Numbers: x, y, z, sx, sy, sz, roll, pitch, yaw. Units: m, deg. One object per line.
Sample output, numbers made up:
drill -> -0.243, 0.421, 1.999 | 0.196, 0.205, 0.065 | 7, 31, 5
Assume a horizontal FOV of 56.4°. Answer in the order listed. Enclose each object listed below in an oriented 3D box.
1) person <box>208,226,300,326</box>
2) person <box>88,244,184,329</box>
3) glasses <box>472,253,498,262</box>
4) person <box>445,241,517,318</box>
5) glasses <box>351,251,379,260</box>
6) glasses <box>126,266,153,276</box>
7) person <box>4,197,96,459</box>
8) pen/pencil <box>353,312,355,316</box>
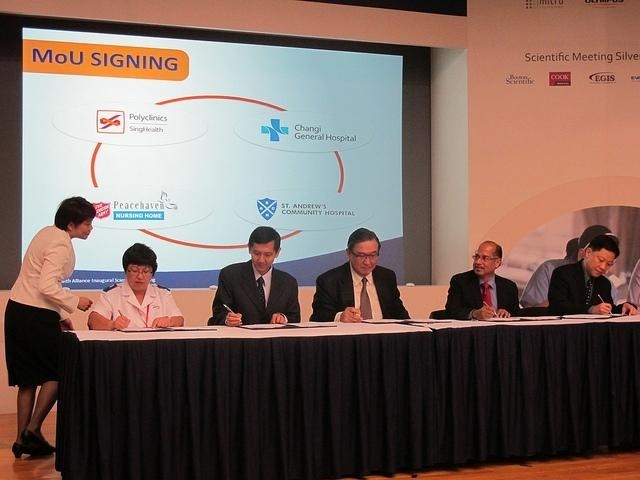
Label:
person -> -0.472, 0.275, 4.298 | 0.671, 0.715, 0.515 | -2, 4, -12
person -> -1.216, 0.391, 4.176 | 0.654, 0.807, 0.544 | 2, -10, -21
glasses -> 1.314, 0.146, 4.739 | 0.175, 0.066, 0.074 | 1, 5, 27
person -> 1.250, 0.324, 4.630 | 0.561, 0.598, 0.737 | 0, 5, 19
glasses -> 0.344, 0.122, 4.578 | 0.201, 0.057, 0.070 | -2, 5, -7
glasses -> -1.222, 0.206, 4.048 | 0.182, 0.085, 0.075 | -3, 5, -16
person -> -1.828, 0.582, 4.074 | 0.591, 1.726, 0.355 | -3, 4, -23
pen/pencil -> 0.241, 0.525, 4.239 | 0.021, 0.024, 0.007 | -2, 8, -1
